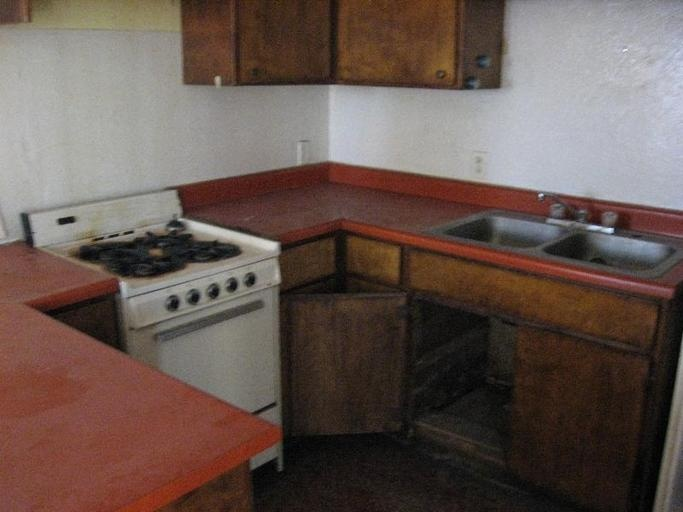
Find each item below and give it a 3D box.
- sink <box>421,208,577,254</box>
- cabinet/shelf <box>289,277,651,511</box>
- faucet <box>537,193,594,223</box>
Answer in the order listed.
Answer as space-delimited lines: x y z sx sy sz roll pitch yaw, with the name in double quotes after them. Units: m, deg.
0.700 -0.098 2.587 0.360 0.124 0.295 -21 29 -40 "sink"
0.639 0.572 2.520 1.343 0.656 0.954 15 21 39 "cabinet/shelf"
1.058 -0.225 2.594 0.072 0.091 0.238 -21 32 -38 "faucet"
